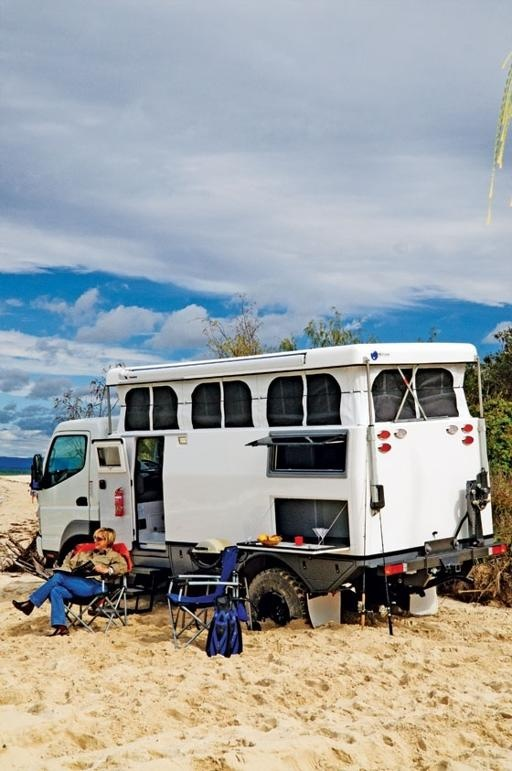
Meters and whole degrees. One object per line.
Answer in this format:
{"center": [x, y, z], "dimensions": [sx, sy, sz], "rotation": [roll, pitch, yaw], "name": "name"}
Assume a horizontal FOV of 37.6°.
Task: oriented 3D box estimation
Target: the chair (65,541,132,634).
{"center": [-1.915, 2.353, 8.682], "dimensions": [0.793, 1.008, 0.813], "rotation": [-6, -8, 13], "name": "chair"}

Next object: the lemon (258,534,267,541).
{"center": [0.068, 1.613, 7.980], "dimensions": [0.059, 0.060, 0.075], "rotation": [-9, 14, -22], "name": "lemon"}

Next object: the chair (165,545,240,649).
{"center": [-0.508, 2.103, 7.490], "dimensions": [0.663, 0.930, 0.648], "rotation": [-1, -9, -7], "name": "chair"}

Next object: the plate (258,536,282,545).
{"center": [0.128, 1.628, 7.929], "dimensions": [0.145, 0.054, 0.134], "rotation": [-5, -8, 43], "name": "plate"}

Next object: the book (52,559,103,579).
{"center": [-2.024, 2.118, 8.568], "dimensions": [0.262, 0.126, 0.343], "rotation": [0, -6, 27], "name": "book"}

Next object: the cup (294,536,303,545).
{"center": [0.435, 1.609, 7.815], "dimensions": [0.074, 0.084, 0.075], "rotation": [-1, -6, 0], "name": "cup"}

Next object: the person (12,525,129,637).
{"center": [-2.098, 2.182, 8.615], "dimensions": [0.752, 1.395, 1.144], "rotation": [-21, -33, 36], "name": "person"}
